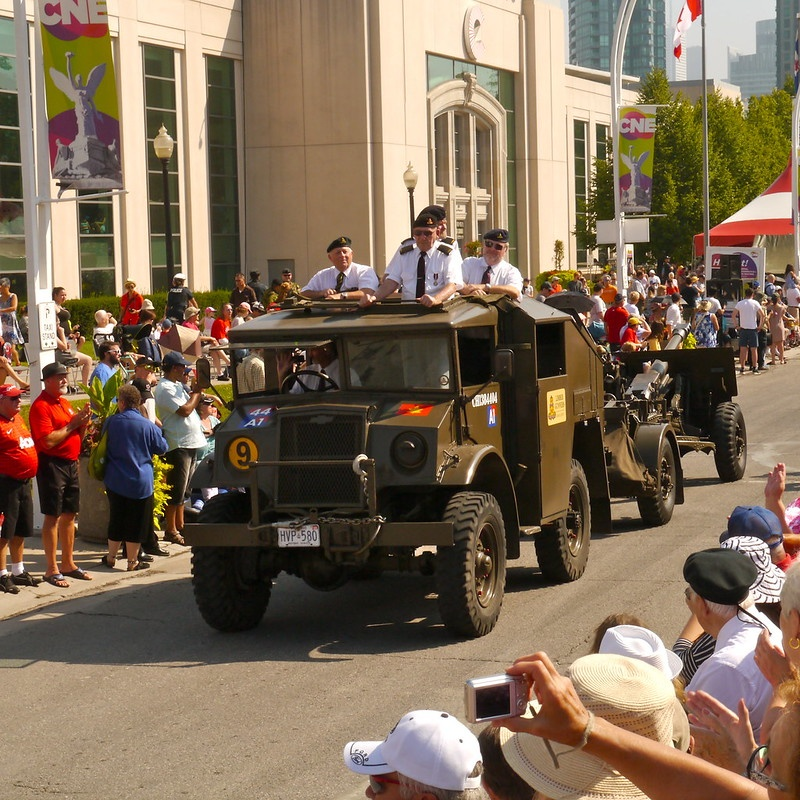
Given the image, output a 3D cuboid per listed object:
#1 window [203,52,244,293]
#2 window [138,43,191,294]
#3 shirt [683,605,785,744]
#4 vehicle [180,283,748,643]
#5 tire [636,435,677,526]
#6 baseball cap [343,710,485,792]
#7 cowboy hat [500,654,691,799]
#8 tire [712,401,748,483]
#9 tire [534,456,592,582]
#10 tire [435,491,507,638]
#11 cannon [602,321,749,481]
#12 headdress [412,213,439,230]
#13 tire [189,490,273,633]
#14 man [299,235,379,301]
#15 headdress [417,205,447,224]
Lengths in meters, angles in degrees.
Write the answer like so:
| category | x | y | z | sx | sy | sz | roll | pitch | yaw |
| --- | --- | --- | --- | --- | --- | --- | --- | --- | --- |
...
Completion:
| category | x | y | z | sx | sy | sz | roll | pitch | yaw |
| --- | --- | --- | --- | --- | --- | --- | --- | --- | --- |
| window | -5.787 | -7.574 | 41.517 | 1.471 | 8.821 | 0.157 | 2 | -19 | -19 |
| window | -7.140 | -6.076 | 37.537 | 0.100 | 5.904 | 1.021 | -1 | 2 | 39 |
| shirt | 1.269 | 1.014 | 4.872 | 0.292 | 0.618 | 0.575 | 1 | -5 | 38 |
| vehicle | 0.692 | 0.382 | 11.470 | 2.095 | 2.557 | 5.827 | -2 | 1 | 26 |
| tire | 2.635 | 0.846 | 13.204 | 0.211 | 0.779 | 0.624 | -3 | 18 | 25 |
| baseball cap | 0.062 | 1.045 | 3.855 | 0.310 | 0.224 | 0.238 | 4 | 4 | 7 |
| cowboy hat | 0.628 | 1.054 | 4.035 | 0.443 | 0.249 | 0.470 | 30 | 56 | 12 |
| tire | 4.104 | 0.502 | 15.710 | 0.219 | 0.870 | 0.745 | -1 | 0 | 33 |
| tire | 1.410 | 1.067 | 11.093 | 0.273 | 1.125 | 0.962 | -2 | 4 | 26 |
| tire | 0.484 | 1.192 | 9.125 | 0.292 | 1.008 | 0.759 | 1 | 5 | 27 |
| cannon | 3.269 | 0.203 | 15.603 | 1.353 | 1.923 | 2.673 | -3 | 6 | 28 |
| headdress | 0.204 | -1.501 | 10.668 | 0.204 | 0.136 | 0.256 | -1 | 5 | 7 |
| tire | -1.233 | 1.210 | 9.445 | 0.235 | 1.035 | 0.813 | -1 | 10 | 16 |
| man | -0.533 | -1.095 | 11.234 | 0.518 | 0.574 | 0.700 | -3 | -7 | 4 |
| headdress | 0.245 | -1.535 | 10.824 | 0.171 | 0.146 | 0.231 | -12 | 9 | -41 |
